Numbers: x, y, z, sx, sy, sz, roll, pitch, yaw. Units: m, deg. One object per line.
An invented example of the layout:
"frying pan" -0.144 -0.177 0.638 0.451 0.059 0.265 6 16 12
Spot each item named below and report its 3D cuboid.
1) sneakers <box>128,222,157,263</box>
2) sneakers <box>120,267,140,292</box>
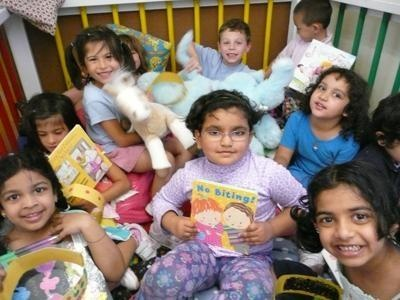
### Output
"sneakers" -0.310 0.463 1.523 0.183 0.065 0.111 49 36 9
"sneakers" -0.306 0.572 1.342 0.054 0.045 0.127 9 9 -30
